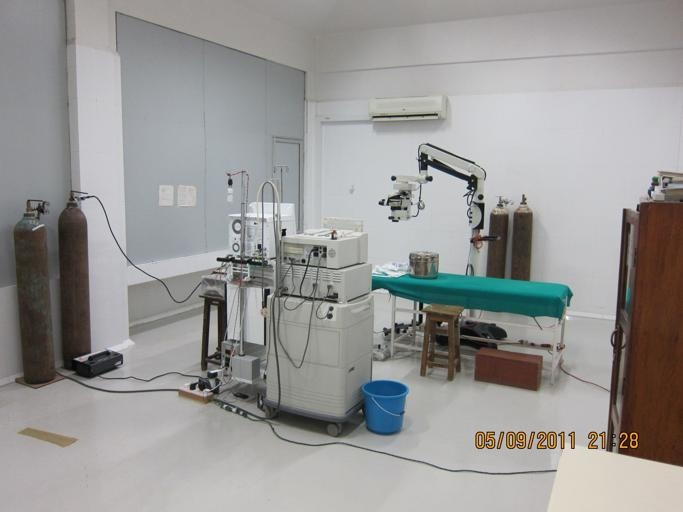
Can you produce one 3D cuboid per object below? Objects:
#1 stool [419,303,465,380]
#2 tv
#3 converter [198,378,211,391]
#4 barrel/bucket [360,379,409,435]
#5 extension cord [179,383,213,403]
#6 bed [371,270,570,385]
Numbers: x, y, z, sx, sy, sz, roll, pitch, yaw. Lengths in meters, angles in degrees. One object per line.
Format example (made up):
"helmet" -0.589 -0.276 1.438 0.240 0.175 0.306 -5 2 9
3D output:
"stool" 0.984 0.854 5.187 0.464 0.854 0.485 5 17 22
"tv" -0.686 -0.217 4.748 0.494 0.469 0.500 6 6 36
"converter" -1.177 1.111 4.606 0.099 0.099 0.079 4 1 13
"barrel/bucket" 0.337 1.206 4.202 0.360 0.337 0.375 4 4 0
"extension cord" -1.239 1.166 4.596 0.306 0.121 0.120 4 9 24
"bed" 1.340 0.658 5.317 1.702 0.828 0.725 4 2 19
